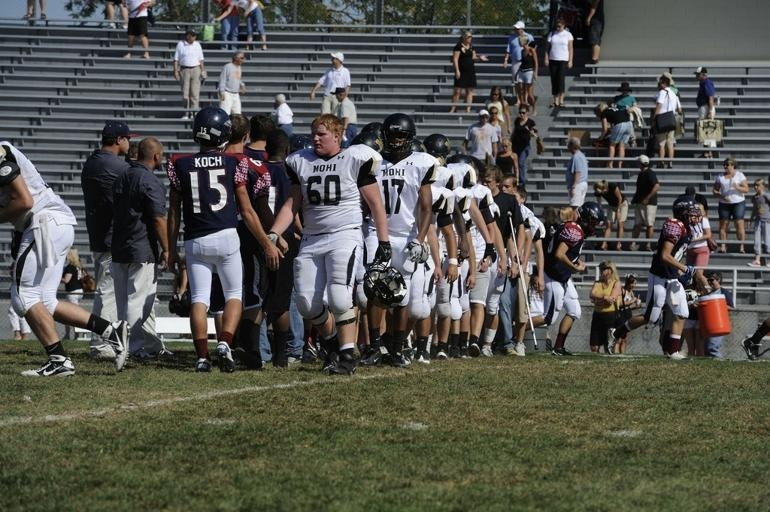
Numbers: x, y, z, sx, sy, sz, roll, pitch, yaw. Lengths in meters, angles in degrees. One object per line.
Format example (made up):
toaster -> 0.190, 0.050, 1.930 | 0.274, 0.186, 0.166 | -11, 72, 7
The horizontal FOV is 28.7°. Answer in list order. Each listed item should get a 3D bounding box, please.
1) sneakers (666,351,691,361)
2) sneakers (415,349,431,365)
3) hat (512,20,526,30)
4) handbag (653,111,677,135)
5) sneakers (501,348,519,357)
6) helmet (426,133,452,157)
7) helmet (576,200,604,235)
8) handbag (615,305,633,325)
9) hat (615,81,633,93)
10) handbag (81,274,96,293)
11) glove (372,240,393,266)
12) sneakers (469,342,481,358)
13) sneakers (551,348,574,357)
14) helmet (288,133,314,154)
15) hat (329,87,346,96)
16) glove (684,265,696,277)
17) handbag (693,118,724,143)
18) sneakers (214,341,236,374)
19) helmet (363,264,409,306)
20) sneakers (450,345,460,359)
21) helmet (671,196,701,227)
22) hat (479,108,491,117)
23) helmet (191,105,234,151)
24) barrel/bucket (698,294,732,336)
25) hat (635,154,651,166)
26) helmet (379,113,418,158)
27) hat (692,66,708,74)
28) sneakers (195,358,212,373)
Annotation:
sneakers -> 4.609, 1.591, 23.521 | 0.141, 0.087, 0.219 | 3, -11, -37
sneakers -> 0.575, 1.491, 22.203 | 0.216, 0.190, 0.341 | 2, 4, 1
hat -> 2.994, -5.088, 33.036 | 0.263, 0.199, 0.401 | 4, 2, 29
handbag -> 5.700, -2.679, 30.373 | 0.408, 0.357, 0.169 | -12, 4, 8
sneakers -> 2.088, 1.597, 24.703 | 0.084, 0.103, 0.244 | 8, -12, -36
helmet -> 0.789, -1.666, 22.778 | 0.312, 0.344, 0.599 | 3, 4, 15
helmet -> 3.466, -0.643, 25.311 | 0.469, 0.380, 0.487 | -30, 2, 42
handbag -> 4.178, 1.057, 26.160 | 0.205, 0.264, 0.149 | 34, -32, -12
hat -> 5.089, -3.559, 31.913 | 0.506, 0.238, 0.617 | 2, 6, 8
handbag -> -5.240, 0.503, 26.675 | 0.218, 0.340, 0.328 | 1, 4, -8
glove -> 0.000, -0.031, 20.865 | 0.234, 0.317, 0.155 | 9, 15, -12
sneakers -> 1.467, 1.487, 23.667 | 0.147, 0.203, 0.270 | 5, 5, 38
sneakers -> 2.915, 1.596, 24.479 | 0.376, 0.153, 0.125 | 0, -1, -2
helmet -> -1.245, -1.711, 22.798 | 0.358, 0.178, 0.471 | 2, 15, 29
hat -> -0.859, -3.316, 30.524 | 0.208, 0.143, 0.264 | -10, 0, -15
glove -> 4.924, 0.261, 24.109 | 0.175, 0.092, 0.241 | -4, 6, 13
handbag -> 6.792, -2.579, 31.473 | 0.746, 0.653, 0.447 | 1, 1, 4
sneakers -> -2.216, 1.413, 21.055 | 0.268, 0.451, 0.239 | 1, 4, -12
helmet -> -0.003, 0.412, 20.864 | 0.583, 0.396, 0.459 | 44, 37, 23
sneakers -> 1.115, 1.520, 23.338 | 0.114, 0.187, 0.187 | -11, -40, 12
helmet -> 4.787, -0.704, 23.934 | 0.461, 0.435, 0.382 | 4, 8, -6
hat -> 1.982, -2.798, 29.449 | 0.184, 0.136, 0.265 | 4, -7, -9
helmet -> -2.418, -1.833, 21.157 | 0.456, 0.563, 0.589 | 9, 34, 5
barrel/bucket -> 5.313, 0.962, 24.154 | 0.606, 0.651, 0.633 | -8, -10, -1
hat -> 4.998, -1.804, 28.733 | 0.213, 0.121, 0.333 | 0, 13, 3
helmet -> 0.250, -1.709, 21.574 | 0.472, 0.521, 0.620 | 4, 10, 6
hat -> 6.660, -3.914, 31.753 | 0.270, 0.189, 0.368 | -10, 16, -39
sneakers -> -2.533, 1.540, 21.107 | 0.223, 0.191, 0.255 | 1, 4, -8
